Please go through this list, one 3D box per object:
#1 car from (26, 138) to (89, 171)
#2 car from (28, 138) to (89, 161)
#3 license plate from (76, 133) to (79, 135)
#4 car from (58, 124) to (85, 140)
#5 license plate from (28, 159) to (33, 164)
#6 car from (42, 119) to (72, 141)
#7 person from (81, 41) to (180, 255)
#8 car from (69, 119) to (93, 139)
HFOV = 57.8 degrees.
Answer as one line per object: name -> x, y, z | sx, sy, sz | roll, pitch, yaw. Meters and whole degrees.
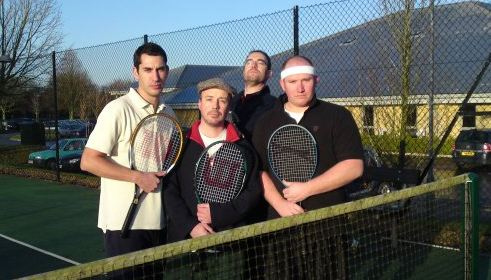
car -> -7.271, 0.546, 17.055 | 2.039, 0.961, 1.233 | 0, 2, -22
car -> -7.533, 0.361, 17.708 | 1.971, 0.762, 0.969 | 2, 1, 9
license plate -> -13.756, -0.538, 36.335 | 0.146, 0.160, 0.036 | 1, 1, -12
car -> -14.354, -0.795, 36.691 | 2.587, 1.327, 1.650 | -5, 2, -5
license plate -> -8.985, 0.884, 18.622 | 0.213, 0.128, 0.046 | 1, -4, 32
car -> -14.100, -0.736, 33.395 | 2.922, 1.491, 1.624 | -4, 5, -4
person -> -1.613, 0.106, 6.370 | 1.286, 2.934, 0.622 | -6, 9, -22
car -> -11.827, -0.800, 31.841 | 1.951, 0.743, 1.236 | 5, 8, 34
